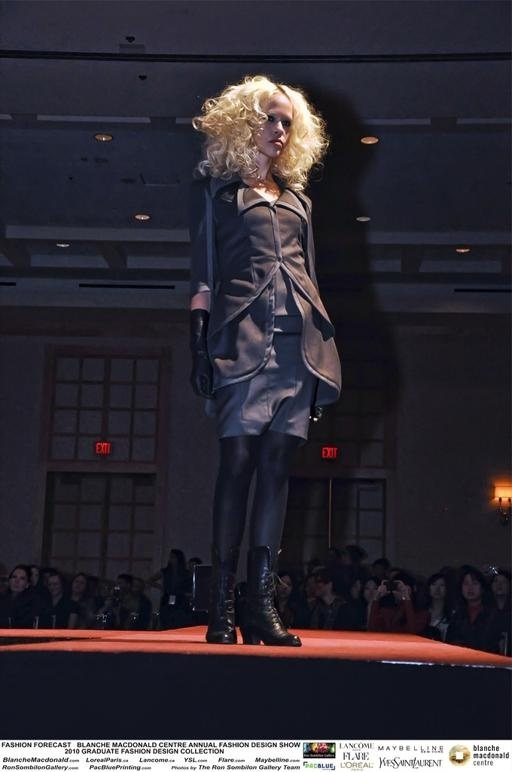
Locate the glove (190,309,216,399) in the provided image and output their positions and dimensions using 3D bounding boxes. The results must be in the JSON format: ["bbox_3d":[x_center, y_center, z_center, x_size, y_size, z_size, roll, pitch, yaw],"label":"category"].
[{"bbox_3d":[-0.122,-0.068,2.069,0.065,0.192,0.086,6,-9,-5],"label":"glove"}]

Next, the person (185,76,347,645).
[{"bbox_3d":[0.006,-0.126,2.130,0.404,1.395,0.388,6,-9,-4],"label":"person"}]
